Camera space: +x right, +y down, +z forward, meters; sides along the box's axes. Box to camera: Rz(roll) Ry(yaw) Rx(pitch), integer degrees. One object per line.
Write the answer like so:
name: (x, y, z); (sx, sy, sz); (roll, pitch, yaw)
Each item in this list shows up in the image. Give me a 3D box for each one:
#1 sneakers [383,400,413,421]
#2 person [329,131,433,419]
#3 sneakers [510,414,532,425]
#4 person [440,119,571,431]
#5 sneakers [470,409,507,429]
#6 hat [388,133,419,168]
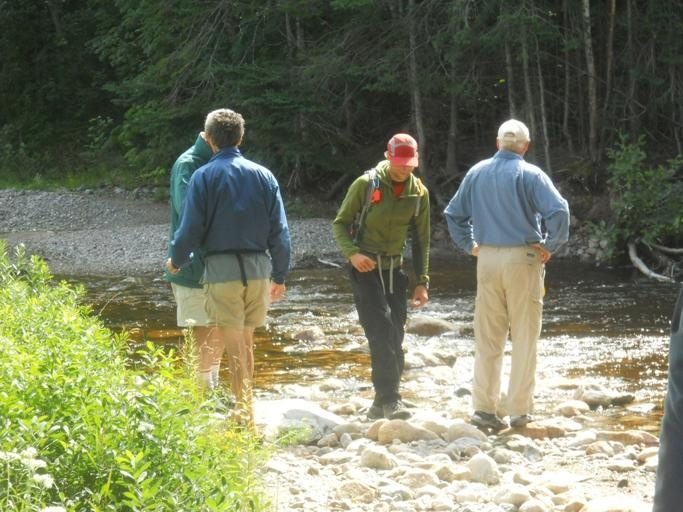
sneakers: (0.719, 2.001, 12.962); (0.172, 0.199, 0.429); (-1, 0, 39)
person: (0.536, 0.246, 13.136); (1.291, 3.697, 0.769); (-1, 5, -9)
sneakers: (2.265, 2.081, 12.725); (0.289, 0.138, 0.105); (-13, 4, -22)
person: (2.158, 0.220, 12.886); (1.418, 3.940, 0.733); (0, 5, 6)
sneakers: (1.854, 2.088, 12.856); (0.494, 0.248, 0.189); (11, -3, -3)
hat: (0.789, -1.433, 12.997); (0.418, 0.344, 0.651); (2, 25, -15)
